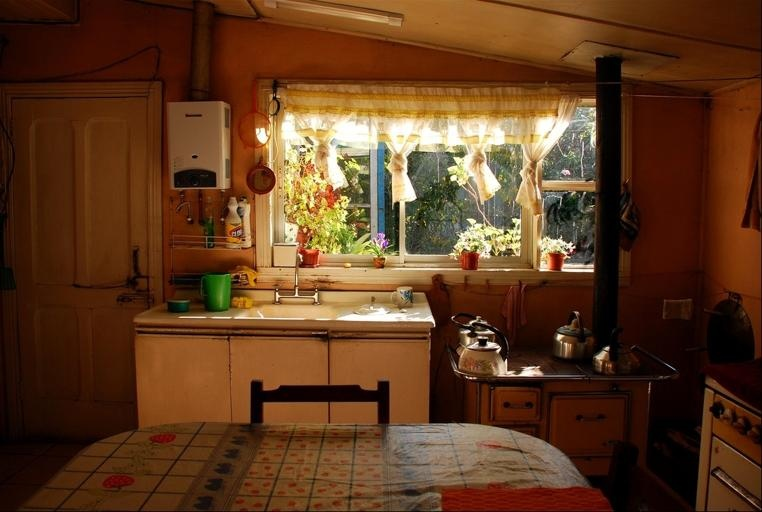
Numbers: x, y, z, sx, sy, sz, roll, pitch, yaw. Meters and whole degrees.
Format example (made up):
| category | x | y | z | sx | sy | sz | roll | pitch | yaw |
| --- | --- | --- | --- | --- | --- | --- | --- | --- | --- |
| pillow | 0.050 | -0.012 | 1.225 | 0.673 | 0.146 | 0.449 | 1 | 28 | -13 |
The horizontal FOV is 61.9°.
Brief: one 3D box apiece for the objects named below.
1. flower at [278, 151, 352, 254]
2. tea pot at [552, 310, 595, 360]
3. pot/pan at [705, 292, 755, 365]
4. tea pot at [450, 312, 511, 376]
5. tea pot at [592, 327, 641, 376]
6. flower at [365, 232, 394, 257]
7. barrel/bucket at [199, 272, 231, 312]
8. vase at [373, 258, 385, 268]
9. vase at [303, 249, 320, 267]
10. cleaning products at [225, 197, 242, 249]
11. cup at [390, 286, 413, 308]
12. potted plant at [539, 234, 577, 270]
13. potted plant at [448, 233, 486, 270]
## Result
| category | x | y | z | sx | sy | sz | roll | pitch | yaw |
| --- | --- | --- | --- | --- | --- | --- | --- | --- | --- |
| flower | -0.528 | -0.407 | 4.976 | 0.577 | 0.753 | 0.281 | -17 | 11 | -13 |
| tea pot | 1.269 | 0.530 | 4.405 | 0.315 | 0.340 | 0.309 | 0 | 2 | 0 |
| pot/pan | 2.339 | 0.505 | 4.254 | 0.223 | 0.500 | 0.531 | 0 | 6 | 20 |
| tea pot | 0.647 | 0.596 | 4.325 | 0.305 | 0.319 | 0.440 | -2 | 4 | -31 |
| tea pot | 1.547 | 0.622 | 4.198 | 0.247 | 0.287 | 0.331 | 1 | 0 | 28 |
| flower | -0.012 | -0.093 | 4.968 | 0.202 | 0.184 | 0.151 | -2 | 6 | -3 |
| barrel/bucket | -1.194 | 0.261 | 4.622 | 0.190 | 0.263 | 0.292 | 3 | 5 | 21 |
| vase | -0.006 | 0.047 | 4.933 | 0.094 | 0.084 | 0.104 | -2 | 6 | -2 |
| vase | -0.543 | 0.012 | 4.974 | 0.131 | 0.111 | 0.128 | -2 | 5 | -15 |
| cleaning products | -1.138 | -0.250 | 4.831 | 0.160 | 0.373 | 0.083 | 0 | 6 | 18 |
| cup | 0.170 | 0.305 | 4.712 | 0.175 | 0.139 | 0.107 | -4 | 7 | -22 |
| potted plant | 1.356 | -0.023 | 4.855 | 0.263 | 0.252 | 0.130 | -1 | 6 | 12 |
| potted plant | 0.680 | -0.049 | 4.897 | 0.296 | 0.287 | 0.263 | 1 | 3 | -4 |
